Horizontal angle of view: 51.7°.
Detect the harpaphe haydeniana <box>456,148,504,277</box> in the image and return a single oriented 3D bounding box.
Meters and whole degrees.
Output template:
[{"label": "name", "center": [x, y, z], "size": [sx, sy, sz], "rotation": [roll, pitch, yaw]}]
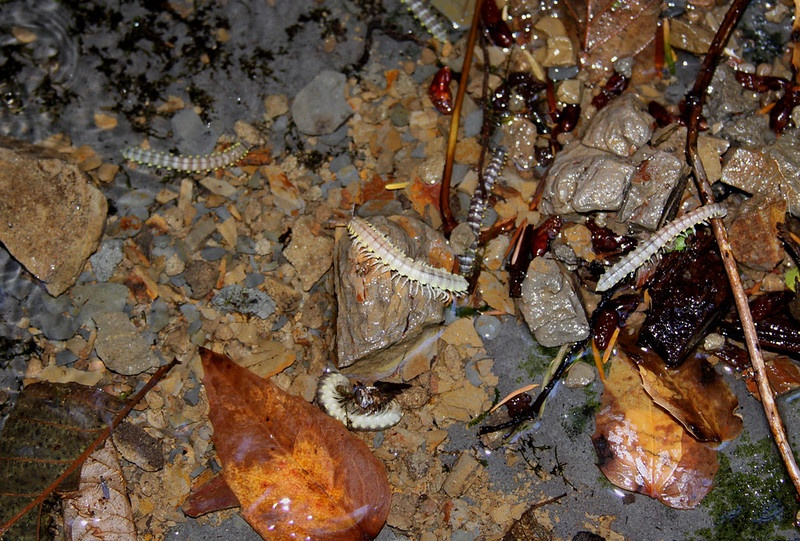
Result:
[{"label": "harpaphe haydeniana", "center": [0.876, -0.626, 8.998], "size": [0.224, 1.400, 0.179], "rotation": [21, 2, 26]}]
